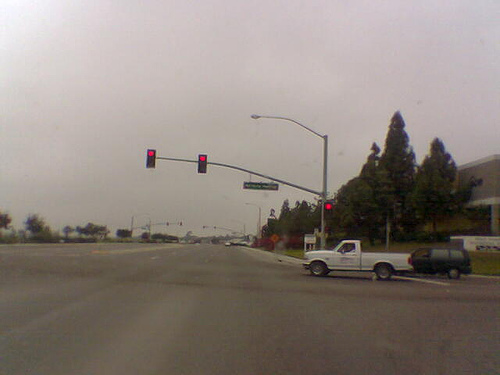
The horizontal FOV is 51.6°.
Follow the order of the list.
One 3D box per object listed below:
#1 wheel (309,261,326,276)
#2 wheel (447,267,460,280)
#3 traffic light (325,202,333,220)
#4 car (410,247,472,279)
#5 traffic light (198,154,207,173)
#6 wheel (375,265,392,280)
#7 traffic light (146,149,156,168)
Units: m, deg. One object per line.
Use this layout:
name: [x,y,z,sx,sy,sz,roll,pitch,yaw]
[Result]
wheel: [3.347,3.971,25.309,0.561,0.700,0.244,-2,-5,17]
wheel: [10.545,4.435,26.650,0.466,0.584,0.201,2,-2,10]
traffic light: [5.095,1.372,33.353,0.441,0.838,0.457,3,-8,4]
car: [10.175,3.967,27.607,2.917,1.650,2.018,1,-6,15]
traffic light: [-2.897,-1.426,31.481,0.447,1.040,0.300,5,-7,-9]
wheel: [6.295,4.006,24.253,0.583,0.732,0.233,0,2,0]
traffic light: [-5.830,-1.668,30.516,0.441,1.008,0.410,5,-8,-8]
